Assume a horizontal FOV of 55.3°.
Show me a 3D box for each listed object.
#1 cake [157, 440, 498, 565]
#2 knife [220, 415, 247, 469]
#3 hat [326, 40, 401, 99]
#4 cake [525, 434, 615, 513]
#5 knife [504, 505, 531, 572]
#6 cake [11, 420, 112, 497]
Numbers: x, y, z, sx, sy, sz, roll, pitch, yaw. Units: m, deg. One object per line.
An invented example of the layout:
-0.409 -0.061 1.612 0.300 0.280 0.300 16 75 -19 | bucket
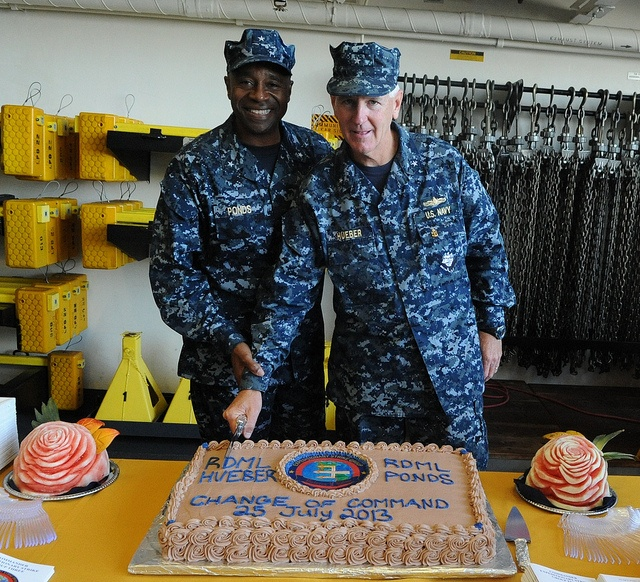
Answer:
0.020 0.505 1.480 0.580 0.104 0.294 0 21 1 | cake
-0.236 0.415 1.682 0.031 0.151 0.024 29 -22 -5 | knife
0.131 -0.674 1.849 0.215 0.173 0.180 0 14 3 | hat
0.658 0.478 1.583 0.212 0.176 0.108 -9 -30 8 | cake
0.491 0.607 1.496 0.060 0.199 0.024 -8 23 20 | knife
-0.684 0.443 1.599 0.221 0.101 0.218 1 39 -6 | cake
